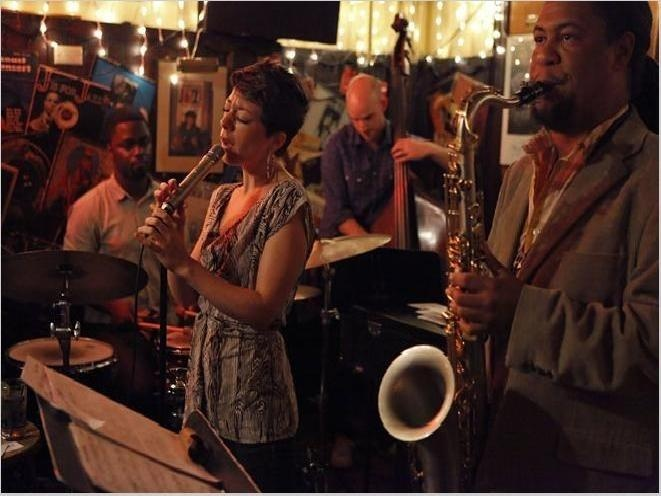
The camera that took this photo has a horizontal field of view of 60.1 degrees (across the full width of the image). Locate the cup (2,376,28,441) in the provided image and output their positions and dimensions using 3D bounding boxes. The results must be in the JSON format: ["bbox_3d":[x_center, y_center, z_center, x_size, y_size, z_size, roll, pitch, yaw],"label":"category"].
[{"bbox_3d":[-1.403,0.715,2.536,0.091,0.214,0.164,0,9,-30],"label":"cup"}]

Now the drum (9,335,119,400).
[{"bbox_3d":[-1.360,0.594,2.916,0.483,0.368,0.485,5,7,-1],"label":"drum"}]

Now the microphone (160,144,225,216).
[{"bbox_3d":[-0.483,-0.246,2.030,0.225,0.256,0.127,2,8,-23],"label":"microphone"}]

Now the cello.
[{"bbox_3d":[0.372,-0.579,2.906,0.416,1.048,0.169,-4,2,16],"label":"cello"}]

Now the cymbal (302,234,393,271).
[{"bbox_3d":[0.083,0.002,2.932,0.269,0.080,0.236,-9,-1,-22],"label":"cymbal"}]

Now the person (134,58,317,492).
[{"bbox_3d":[-0.381,0.176,2.155,0.599,1.751,0.458,5,8,-2],"label":"person"}]

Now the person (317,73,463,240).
[{"bbox_3d":[0.215,-0.428,2.936,0.579,0.869,0.332,-5,7,-21],"label":"person"}]
